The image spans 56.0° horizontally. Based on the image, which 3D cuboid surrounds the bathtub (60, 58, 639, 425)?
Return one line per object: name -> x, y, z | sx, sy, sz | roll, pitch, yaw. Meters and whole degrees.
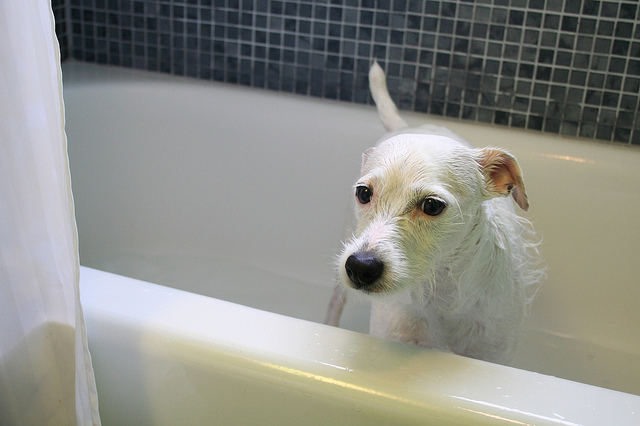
bathtub -> -0.111, 0.114, 1.834 | 1.586, 1.018, 0.436 | 6, -19, 9
